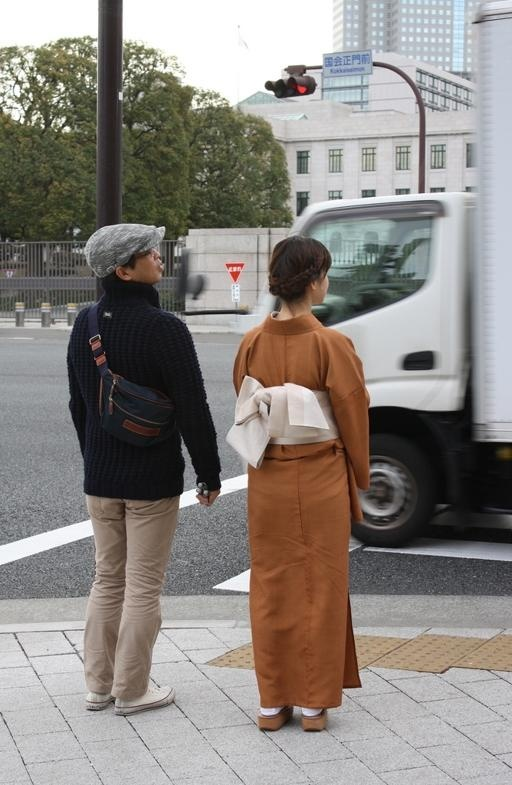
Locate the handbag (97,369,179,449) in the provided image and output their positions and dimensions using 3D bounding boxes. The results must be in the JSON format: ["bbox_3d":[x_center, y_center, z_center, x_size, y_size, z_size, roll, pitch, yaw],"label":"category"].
[{"bbox_3d":[-0.366,0.055,3.214,0.268,0.251,0.145,22,45,12],"label":"handbag"}]

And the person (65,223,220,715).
[{"bbox_3d":[-0.385,0.243,3.308,0.549,1.561,0.304,1,3,9],"label":"person"}]

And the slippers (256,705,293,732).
[{"bbox_3d":[0.060,1.005,3.144,0.042,0.047,0.124,2,4,20],"label":"slippers"}]

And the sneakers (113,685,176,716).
[{"bbox_3d":[-0.348,0.990,3.267,0.201,0.076,0.071,-8,11,-37],"label":"sneakers"}]

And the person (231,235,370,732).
[{"bbox_3d":[0.144,0.280,3.197,0.426,1.522,0.294,0,3,-1],"label":"person"}]

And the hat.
[{"bbox_3d":[-0.422,-0.457,3.280,0.248,0.182,0.208,0,3,-8],"label":"hat"}]
